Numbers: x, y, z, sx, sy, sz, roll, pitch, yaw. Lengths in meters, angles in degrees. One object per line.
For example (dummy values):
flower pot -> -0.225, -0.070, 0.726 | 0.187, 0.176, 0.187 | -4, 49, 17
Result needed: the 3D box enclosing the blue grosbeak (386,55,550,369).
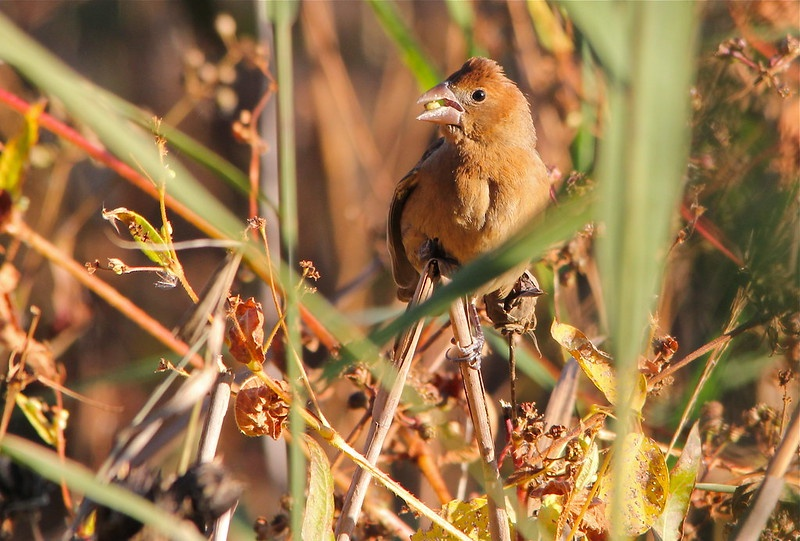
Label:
blue grosbeak -> 0.245, -0.235, 3.124 | 0.635, 1.179, 0.834 | 1, -9, -1
